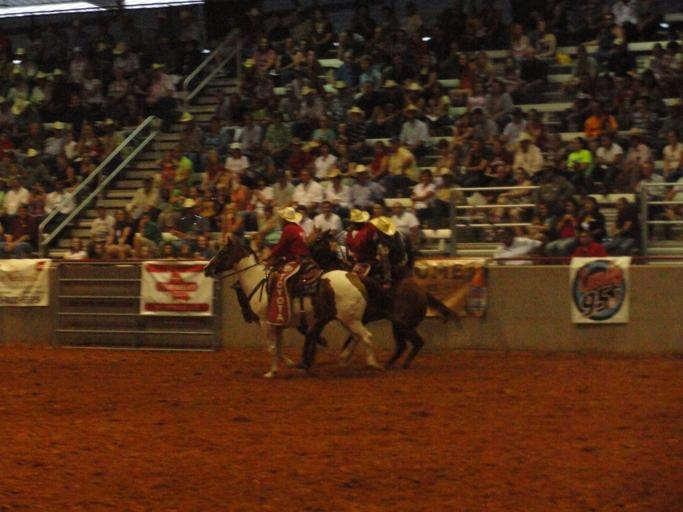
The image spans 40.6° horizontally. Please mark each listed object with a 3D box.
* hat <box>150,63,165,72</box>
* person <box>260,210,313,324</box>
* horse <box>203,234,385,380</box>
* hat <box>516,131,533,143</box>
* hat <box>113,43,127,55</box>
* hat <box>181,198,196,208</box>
[{"bbox_3d":[-5.346,-5.497,26.628,0.394,0.094,0.355,-4,-2,17],"label":"hat"},{"bbox_3d":[-0.983,0.195,16.320,0.697,2.070,0.658,1,10,17],"label":"person"},{"bbox_3d":[-0.830,0.882,16.730,3.723,2.299,0.967,0,-3,26],"label":"horse"},{"bbox_3d":[4.137,-2.702,20.857,0.329,0.214,0.584,0,7,9],"label":"hat"},{"bbox_3d":[-6.698,-6.324,28.008,0.534,0.414,0.140,-6,-29,15],"label":"hat"},{"bbox_3d":[-3.546,-1.233,21.480,0.308,0.191,0.593,-3,7,-11],"label":"hat"}]
